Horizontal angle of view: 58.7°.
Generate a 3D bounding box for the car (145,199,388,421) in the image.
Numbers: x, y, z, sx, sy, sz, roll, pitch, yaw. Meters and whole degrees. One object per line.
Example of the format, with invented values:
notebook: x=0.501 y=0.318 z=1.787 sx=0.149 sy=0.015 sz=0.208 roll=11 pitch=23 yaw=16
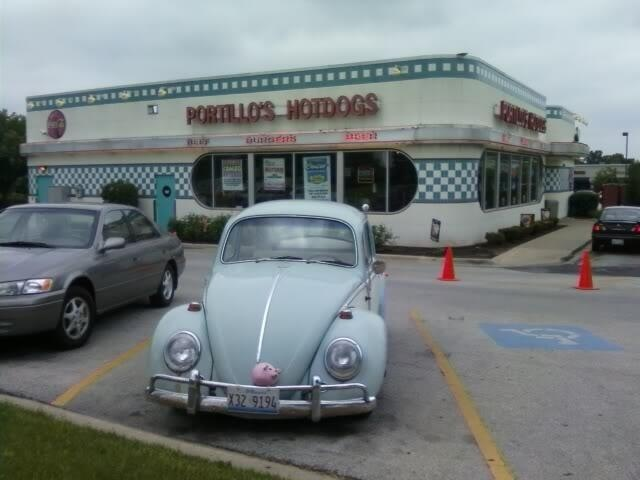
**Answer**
car: x=-0.392 y=0.639 z=6.480 sx=2.440 sy=1.946 sz=2.629 roll=3 pitch=8 yaw=16
